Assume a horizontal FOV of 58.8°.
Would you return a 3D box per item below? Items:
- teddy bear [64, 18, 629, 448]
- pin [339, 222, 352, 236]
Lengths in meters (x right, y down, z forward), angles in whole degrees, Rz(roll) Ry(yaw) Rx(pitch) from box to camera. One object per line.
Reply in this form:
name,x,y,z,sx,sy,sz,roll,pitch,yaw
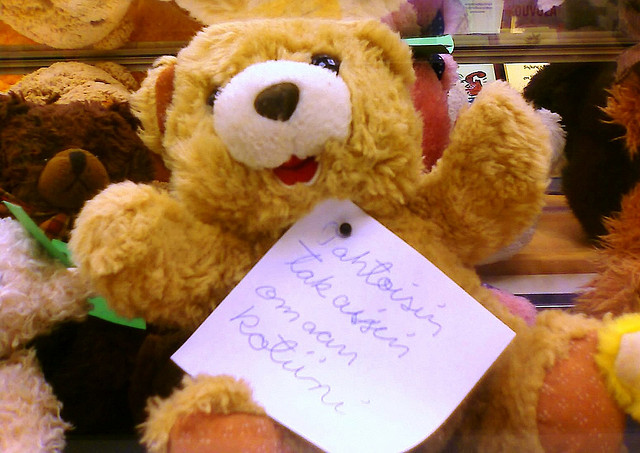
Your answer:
teddy bear,0.024,0.015,0.800,0.696,0.432,0.544,-8,47,0
pin,0.036,0.002,0.789,0.017,0.004,0.017,2,81,0
